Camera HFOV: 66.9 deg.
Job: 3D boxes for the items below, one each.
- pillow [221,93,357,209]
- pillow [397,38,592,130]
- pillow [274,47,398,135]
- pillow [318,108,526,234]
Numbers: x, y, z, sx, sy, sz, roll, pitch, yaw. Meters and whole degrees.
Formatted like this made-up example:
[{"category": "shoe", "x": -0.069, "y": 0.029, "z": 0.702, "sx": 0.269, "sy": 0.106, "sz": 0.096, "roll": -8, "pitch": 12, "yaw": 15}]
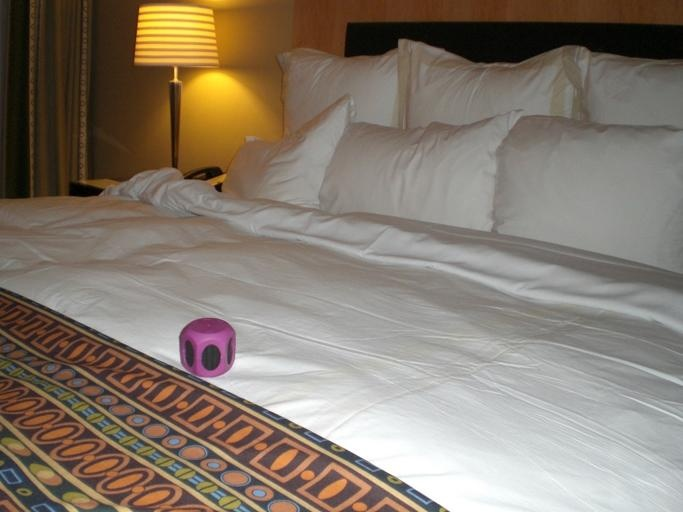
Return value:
[{"category": "pillow", "x": -0.114, "y": -0.384, "z": 2.089, "sx": 0.154, "sy": 0.460, "sz": 0.516, "roll": 34, "pitch": -15, "yaw": -39}, {"category": "pillow", "x": 0.541, "y": -0.617, "z": 1.982, "sx": 0.672, "sy": 0.349, "sz": 0.177, "roll": 11, "pitch": 26, "yaw": 18}, {"category": "pillow", "x": 0.010, "y": -0.738, "z": 2.358, "sx": 0.601, "sy": 0.340, "sz": 0.140, "roll": 2, "pitch": 14, "yaw": 16}, {"category": "pillow", "x": 0.249, "y": -0.265, "z": 1.721, "sx": 0.632, "sy": 0.395, "sz": 0.181, "roll": 5, "pitch": -10, "yaw": 37}]
